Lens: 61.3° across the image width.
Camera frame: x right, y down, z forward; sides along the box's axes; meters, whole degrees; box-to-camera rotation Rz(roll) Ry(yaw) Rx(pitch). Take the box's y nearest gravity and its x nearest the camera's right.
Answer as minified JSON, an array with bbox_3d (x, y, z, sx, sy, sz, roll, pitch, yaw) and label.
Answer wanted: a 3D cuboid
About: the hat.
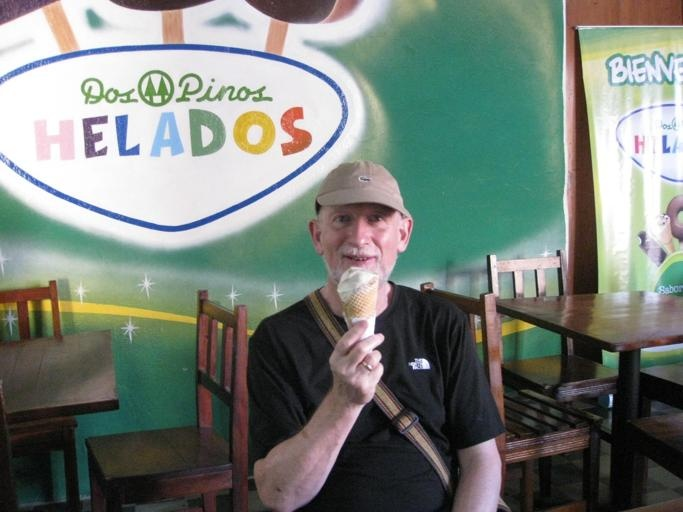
[{"bbox_3d":[0.091,-0.290,2.365,0.356,0.237,0.234,-3,10,-18],"label":"hat"}]

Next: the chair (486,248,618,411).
[{"bbox_3d":[1.385,0.622,3.929,0.722,1.369,0.675,-2,3,-19],"label":"chair"}]

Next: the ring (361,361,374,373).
[{"bbox_3d":[0.089,0.382,1.979,0.009,0.033,0.032,-39,43,-11],"label":"ring"}]

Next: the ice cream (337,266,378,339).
[{"bbox_3d":[0.063,0.195,2.147,0.129,0.283,0.139,-12,10,-41],"label":"ice cream"}]
